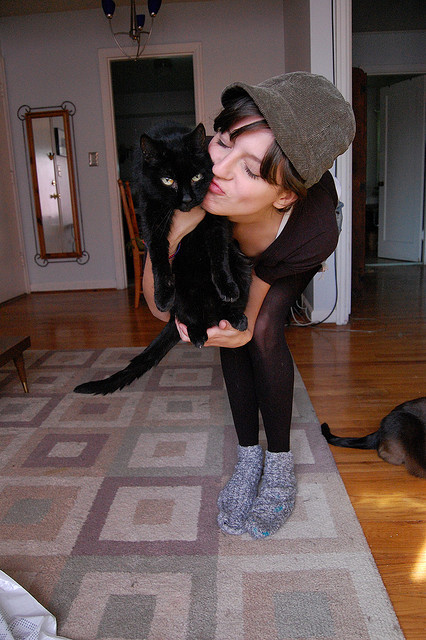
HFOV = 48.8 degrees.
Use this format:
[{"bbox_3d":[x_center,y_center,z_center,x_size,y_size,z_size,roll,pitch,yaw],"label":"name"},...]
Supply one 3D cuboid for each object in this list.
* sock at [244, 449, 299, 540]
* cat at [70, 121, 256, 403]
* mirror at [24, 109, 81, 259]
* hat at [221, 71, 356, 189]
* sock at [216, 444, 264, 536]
[{"bbox_3d":[0.156,0.419,1.135,0.076,0.101,0.233,-2,1,16],"label":"sock"},{"bbox_3d":[-0.089,-0.126,1.117,0.450,0.659,0.347,6,14,36],"label":"cat"},{"bbox_3d":[-1.635,-1.364,4.826,0.062,1.464,0.542,13,24,30],"label":"mirror"},{"bbox_3d":[0.116,-0.341,0.850,0.264,0.192,0.119,-4,-27,11],"label":"hat"},{"bbox_3d":[0.075,0.411,1.168,0.072,0.081,0.212,3,10,13],"label":"sock"}]
